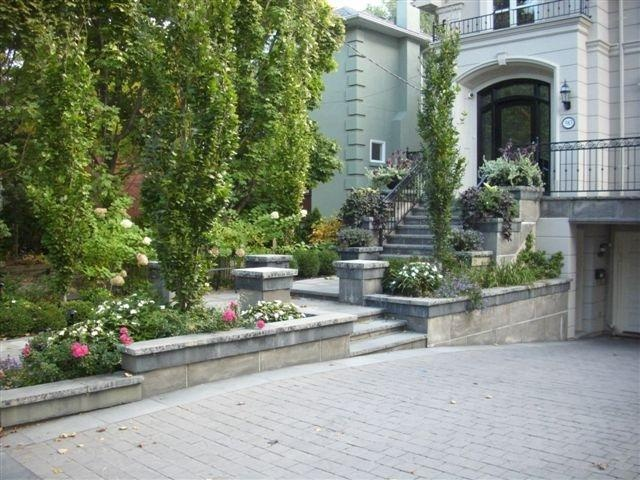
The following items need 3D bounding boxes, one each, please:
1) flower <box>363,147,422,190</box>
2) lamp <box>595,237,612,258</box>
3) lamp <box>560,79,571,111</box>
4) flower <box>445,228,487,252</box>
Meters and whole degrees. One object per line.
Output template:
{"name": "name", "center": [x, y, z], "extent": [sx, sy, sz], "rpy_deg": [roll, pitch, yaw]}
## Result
{"name": "flower", "center": [2.169, -2.009, 20.871], "extent": [1.256, 1.035, 1.246], "rpy_deg": [3, -8, -15]}
{"name": "lamp", "center": [7.786, 0.251, 18.785], "extent": [0.557, 0.605, 0.428], "rpy_deg": [3, 6, 38]}
{"name": "lamp", "center": [6.497, -3.808, 18.418], "extent": [0.207, 0.759, 0.384], "rpy_deg": [-5, 15, -26]}
{"name": "flower", "center": [3.294, 0.041, 15.613], "extent": [0.588, 0.465, 0.613], "rpy_deg": [1, -1, -18]}
